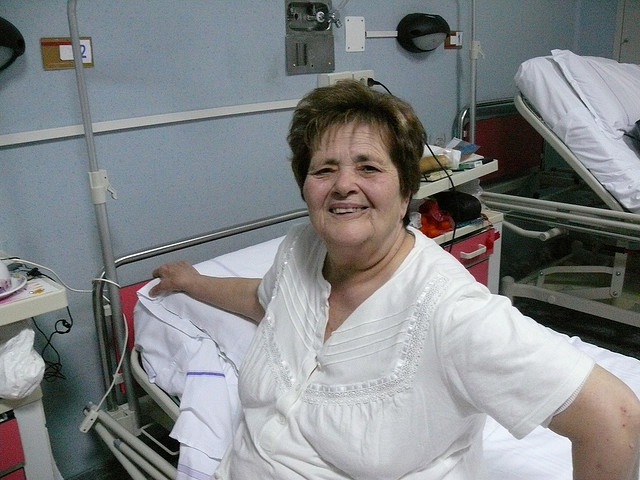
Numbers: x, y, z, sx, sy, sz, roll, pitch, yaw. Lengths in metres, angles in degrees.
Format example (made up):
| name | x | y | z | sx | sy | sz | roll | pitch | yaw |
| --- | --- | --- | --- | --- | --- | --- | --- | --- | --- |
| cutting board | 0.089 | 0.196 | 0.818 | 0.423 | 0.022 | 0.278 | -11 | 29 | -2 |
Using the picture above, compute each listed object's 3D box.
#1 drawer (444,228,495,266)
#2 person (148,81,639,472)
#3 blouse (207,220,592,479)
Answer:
| name | x | y | z | sx | sy | sz | roll | pitch | yaw |
| --- | --- | --- | --- | --- | --- | --- | --- | --- | --- |
| drawer | 0.801 | 0.027 | 2.721 | 0.292 | 0.116 | 0.260 | -16 | 18 | -31 |
| person | 0.188 | 0.094 | 1.264 | 1.035 | 1.018 | 0.502 | 0 | 12 | 33 |
| blouse | 0.153 | 0.336 | 1.279 | 0.951 | 0.645 | 0.439 | 1 | 12 | 37 |
